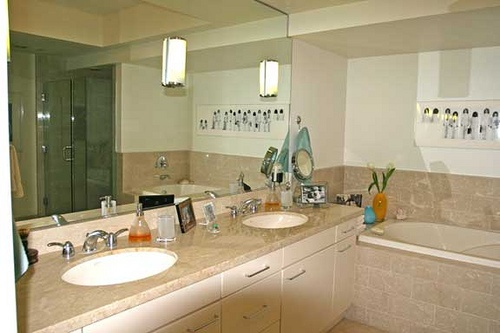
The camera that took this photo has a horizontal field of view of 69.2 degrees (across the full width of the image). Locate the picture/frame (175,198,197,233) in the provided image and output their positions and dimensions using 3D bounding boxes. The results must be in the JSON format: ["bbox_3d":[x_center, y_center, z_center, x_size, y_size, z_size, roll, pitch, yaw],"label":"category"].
[{"bbox_3d":[-0.481,0.364,2.661,0.022,0.184,0.214,-14,7,13],"label":"picture/frame"}]

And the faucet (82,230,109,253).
[{"bbox_3d":[-0.949,0.462,2.257,0.171,0.124,0.097,2,5,5],"label":"faucet"}]

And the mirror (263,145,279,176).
[{"bbox_3d":[0.195,-0.052,3.545,0.068,0.212,0.213,17,55,19],"label":"mirror"}]

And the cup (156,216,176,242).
[{"bbox_3d":[-0.559,0.401,2.425,0.163,0.160,0.134,-4,10,-25],"label":"cup"}]

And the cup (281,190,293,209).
[{"bbox_3d":[0.351,0.313,3.464,0.141,0.242,0.149,0,3,0],"label":"cup"}]

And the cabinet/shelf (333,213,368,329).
[{"bbox_3d":[0.928,1.005,3.498,0.203,1.086,0.702,11,15,23],"label":"cabinet/shelf"}]

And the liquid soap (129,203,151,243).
[{"bbox_3d":[-0.731,0.368,2.394,0.141,0.238,0.148,-7,18,-40],"label":"liquid soap"}]

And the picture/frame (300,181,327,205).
[{"bbox_3d":[0.618,0.260,3.600,0.317,0.263,0.170,1,4,0],"label":"picture/frame"}]

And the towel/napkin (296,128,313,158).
[{"bbox_3d":[0.563,-0.268,3.821,0.167,0.272,0.065,-3,6,-3],"label":"towel/napkin"}]

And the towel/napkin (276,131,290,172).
[{"bbox_3d":[0.336,-0.152,3.692,0.140,0.378,0.120,6,19,-10],"label":"towel/napkin"}]
